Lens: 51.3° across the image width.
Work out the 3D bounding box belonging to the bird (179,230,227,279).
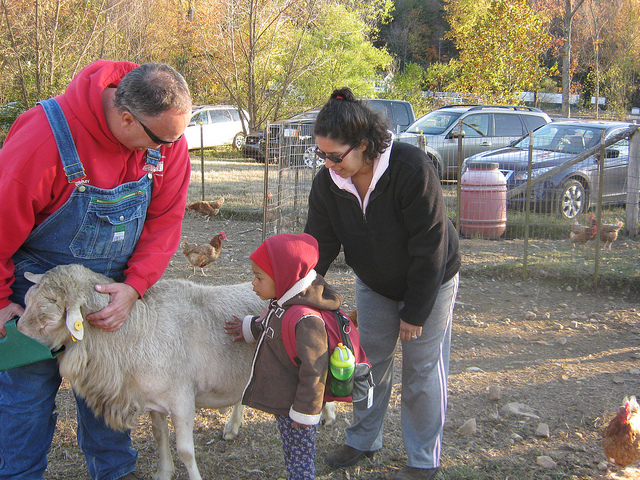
[{"bbox_3d":[-1.813,0.244,10.218,0.712,0.779,0.376,5,-13,-15],"label":"bird"}]

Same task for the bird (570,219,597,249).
[{"bbox_3d":[4.538,-0.134,11.535,0.294,0.363,0.659,1,-1,-1],"label":"bird"}]

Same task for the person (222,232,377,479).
[{"bbox_3d":[-0.139,0.965,5.481,1.138,2.019,0.607,0,5,4],"label":"person"}]

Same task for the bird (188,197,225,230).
[{"bbox_3d":[-2.327,-0.548,13.725,0.756,0.564,0.417,-9,-12,2],"label":"bird"}]

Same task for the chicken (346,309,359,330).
[{"bbox_3d":[0.336,0.841,7.043,0.069,0.169,0.313,-10,-34,4],"label":"chicken"}]

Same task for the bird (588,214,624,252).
[{"bbox_3d":[4.828,-0.155,11.290,0.585,0.561,0.211,2,16,2],"label":"bird"}]

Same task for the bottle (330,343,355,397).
[{"bbox_3d":[0.174,1.037,5.287,0.190,0.394,0.296,-2,21,-4],"label":"bottle"}]

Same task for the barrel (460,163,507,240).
[{"bbox_3d":[2.994,-0.732,12.114,0.801,1.425,0.879,-2,10,0],"label":"barrel"}]

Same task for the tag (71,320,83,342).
[{"bbox_3d":[-1.940,0.730,5.315,0.116,0.155,0.040,4,-1,-45],"label":"tag"}]

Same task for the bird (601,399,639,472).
[{"bbox_3d":[2.795,1.770,6.217,0.322,0.582,0.587,-2,16,19],"label":"bird"}]

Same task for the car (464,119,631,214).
[{"bbox_3d":[4.452,-1.453,12.751,3.714,1.404,1.652,-8,14,-42],"label":"car"}]
